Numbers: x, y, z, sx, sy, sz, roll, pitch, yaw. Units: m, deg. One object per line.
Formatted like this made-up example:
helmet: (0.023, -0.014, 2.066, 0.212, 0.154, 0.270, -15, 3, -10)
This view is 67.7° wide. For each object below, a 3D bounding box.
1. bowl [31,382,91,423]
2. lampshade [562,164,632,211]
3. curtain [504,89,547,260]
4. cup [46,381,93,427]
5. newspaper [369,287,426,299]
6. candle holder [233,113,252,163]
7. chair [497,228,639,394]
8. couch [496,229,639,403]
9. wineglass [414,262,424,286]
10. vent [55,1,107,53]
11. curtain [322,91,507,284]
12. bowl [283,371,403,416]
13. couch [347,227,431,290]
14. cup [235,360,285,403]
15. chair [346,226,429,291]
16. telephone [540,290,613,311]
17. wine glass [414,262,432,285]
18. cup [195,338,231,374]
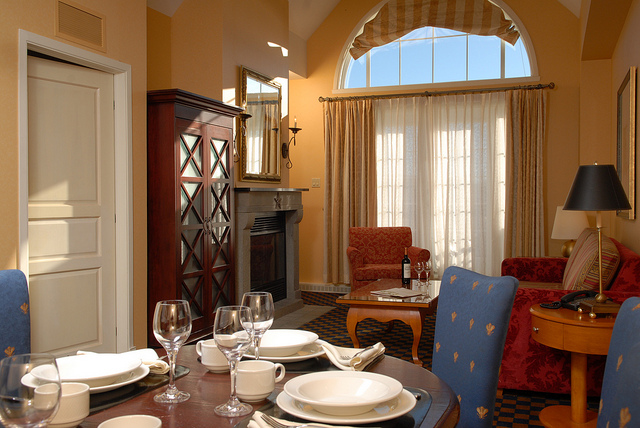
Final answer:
bowl: (-0.855, 0.623, 1.571, 0.164, 0.113, 0.158, 1, -4, 0)
lampshade: (1.858, -0.161, 3.207, 0.328, 0.361, 0.341, -3, -2, 33)
curtain: (2.968, -0.607, 6.943, 0.622, 2.493, 0.180, 1, -4, 4)
cup: (-0.860, 0.660, 1.666, 0.131, 0.110, 0.154, 2, -9, -9)
newspaper: (0.726, 0.747, 4.569, 0.466, 0.043, 0.320, -1, 1, 31)
candle holder: (-0.938, -0.958, 5.992, 0.130, 0.635, 0.375, 0, 2, 26)
chair: (1.794, 0.704, 3.450, 0.578, 0.731, 1.248, 1, -1, 23)
couch: (1.759, 0.740, 3.395, 0.599, 0.815, 1.253, 2, 0, 24)
wineglass: (1.029, 0.612, 4.945, 0.087, 0.255, 0.257, -1, 1, 10)
vent: (-1.949, -1.552, 3.920, 0.028, 0.312, 0.439, 0, 1, 31)
curtain: (1.511, -0.452, 7.092, 2.737, 3.071, 0.238, 0, -3, 15)
bowl: (0.110, 0.645, 1.892, 0.373, 0.097, 0.412, 7, 3, 17)
couch: (0.891, 0.714, 6.641, 1.049, 1.100, 0.804, 0, -1, -4)
cup: (-0.228, 0.661, 1.898, 0.196, 0.130, 0.148, -1, -4, -20)
chair: (0.894, 0.728, 6.579, 0.978, 1.288, 0.921, 0, -7, -1)
telephone: (1.807, 0.619, 3.442, 0.401, 0.126, 0.205, -1, 1, -12)
wine glass: (1.070, 0.615, 4.973, 0.151, 0.264, 0.331, -1, 1, 12)
cup: (-0.487, 0.620, 2.122, 0.171, 0.115, 0.110, 4, 4, 33)
